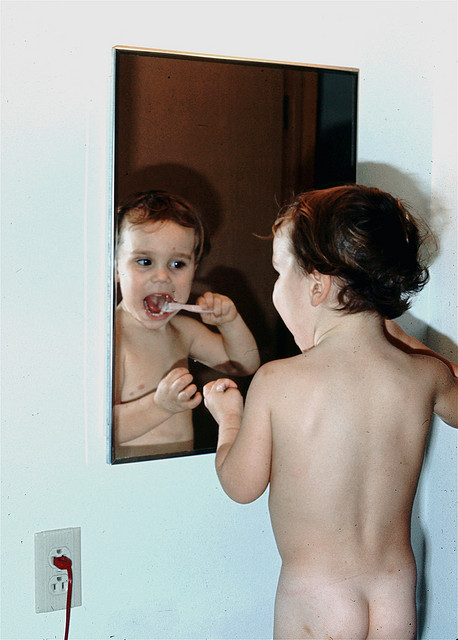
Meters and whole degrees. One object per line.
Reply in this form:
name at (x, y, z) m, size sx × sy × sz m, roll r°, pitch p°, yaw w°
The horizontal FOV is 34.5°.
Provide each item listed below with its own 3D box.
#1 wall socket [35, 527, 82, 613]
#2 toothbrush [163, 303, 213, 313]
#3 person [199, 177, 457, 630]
wall socket at (-0.290, 0.430, 1.257) m, size 0.076 × 0.136 × 0.060 m, roll -1°, pitch 16°, yaw -13°
toothbrush at (-0.075, -0.020, 1.275) m, size 0.099 × 0.020 × 0.010 m, roll 1°, pitch 29°, yaw -16°
person at (0.147, 0.138, 1.150) m, size 0.421 × 0.673 × 0.305 m, roll 5°, pitch 16°, yaw 9°
